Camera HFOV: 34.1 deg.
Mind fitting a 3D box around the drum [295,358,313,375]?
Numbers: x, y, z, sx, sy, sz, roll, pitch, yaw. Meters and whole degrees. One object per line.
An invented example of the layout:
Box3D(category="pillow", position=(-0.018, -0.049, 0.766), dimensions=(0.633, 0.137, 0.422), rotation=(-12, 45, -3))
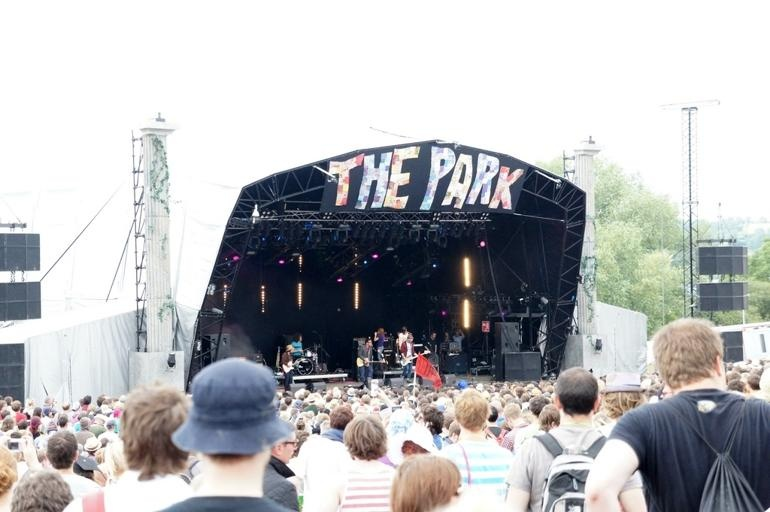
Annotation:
Box3D(category="drum", position=(-2.668, 3.811, 42.375), dimensions=(0.627, 0.572, 0.592), rotation=(16, -9, -17))

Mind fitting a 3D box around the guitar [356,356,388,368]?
Box3D(category="guitar", position=(-0.396, 3.782, 43.466), dimensions=(0.944, 0.217, 0.456), rotation=(2, -17, -10))

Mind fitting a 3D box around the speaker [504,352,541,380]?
Box3D(category="speaker", position=(4.621, 3.797, 42.220), dimensions=(1.747, 1.122, 0.859), rotation=(2, -6, -25))

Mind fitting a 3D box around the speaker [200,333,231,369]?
Box3D(category="speaker", position=(-5.568, 3.064, 40.910), dimensions=(1.024, 1.018, 1.824), rotation=(0, 1, 1))

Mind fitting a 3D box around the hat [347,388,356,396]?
Box3D(category="hat", position=(-0.815, 3.571, 32.029), dimensions=(0.272, 0.131, 0.371), rotation=(2, -2, -8))

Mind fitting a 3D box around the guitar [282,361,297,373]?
Box3D(category="guitar", position=(-3.153, 3.718, 41.036), dimensions=(0.100, 0.336, 0.372), rotation=(5, 8, 35))

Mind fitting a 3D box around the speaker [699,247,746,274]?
Box3D(category="speaker", position=(11.973, 0.197, 43.993), dimensions=(1.249, 0.674, 1.192), rotation=(1, -3, -19))

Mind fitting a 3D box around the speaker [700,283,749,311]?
Box3D(category="speaker", position=(12.099, 1.473, 44.546), dimensions=(1.800, 1.084, 0.995), rotation=(-1, 1, 12))
